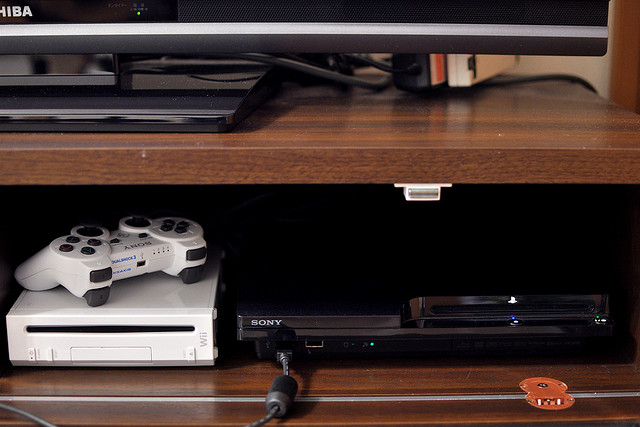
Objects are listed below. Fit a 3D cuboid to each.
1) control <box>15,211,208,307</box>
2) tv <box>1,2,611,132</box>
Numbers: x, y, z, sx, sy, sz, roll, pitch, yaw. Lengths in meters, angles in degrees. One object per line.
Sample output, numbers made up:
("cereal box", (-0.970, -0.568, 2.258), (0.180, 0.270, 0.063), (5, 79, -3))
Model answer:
("control", (-0.324, 0.057, 0.969), (0.179, 0.084, 0.265), (27, 30, 36))
("tv", (-0.044, -0.325, 1.344), (1.240, 0.227, 0.692), (0, 17, -1))
